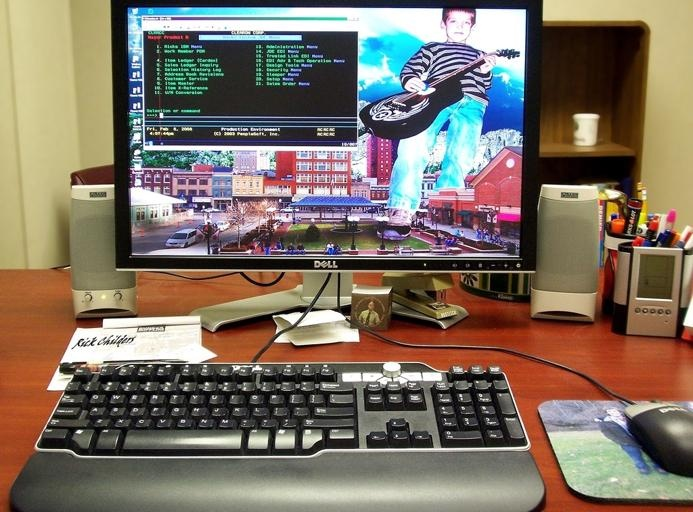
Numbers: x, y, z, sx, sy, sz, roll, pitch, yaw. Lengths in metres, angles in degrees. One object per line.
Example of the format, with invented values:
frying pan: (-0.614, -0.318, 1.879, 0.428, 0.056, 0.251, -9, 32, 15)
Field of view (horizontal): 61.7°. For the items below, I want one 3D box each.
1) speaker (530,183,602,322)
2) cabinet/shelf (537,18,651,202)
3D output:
speaker: (0.461, -0.009, 1.305, 0.149, 0.287, 0.133, 3, 16, 6)
cabinet/shelf: (0.970, -0.537, 2.324, 0.449, 0.707, 0.287, 3, 17, 14)
